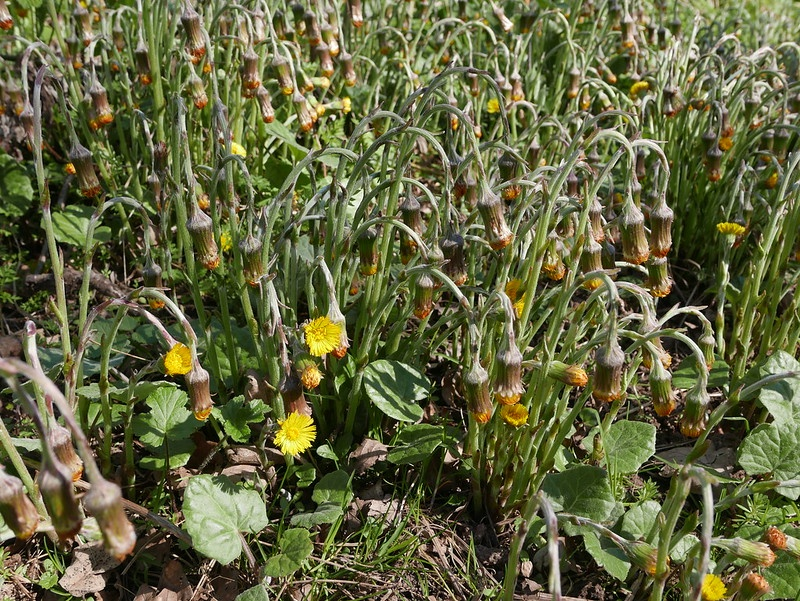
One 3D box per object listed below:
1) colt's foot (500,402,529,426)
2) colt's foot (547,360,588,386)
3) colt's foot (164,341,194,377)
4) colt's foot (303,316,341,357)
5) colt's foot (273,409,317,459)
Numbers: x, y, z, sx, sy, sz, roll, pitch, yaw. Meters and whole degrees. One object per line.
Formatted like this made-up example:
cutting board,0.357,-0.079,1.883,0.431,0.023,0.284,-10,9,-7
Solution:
colt's foot,0.433,0.443,2.835,0.062,0.081,0.105,-21,35,-37
colt's foot,0.618,0.270,2.720,0.063,0.079,0.131,-27,23,-28
colt's foot,-0.847,0.220,2.779,0.123,0.146,0.097,-5,27,-11
colt's foot,-0.300,0.136,2.853,0.133,0.149,0.069,-22,-2,3
colt's foot,-0.428,0.571,2.941,0.156,0.281,0.177,1,26,1
